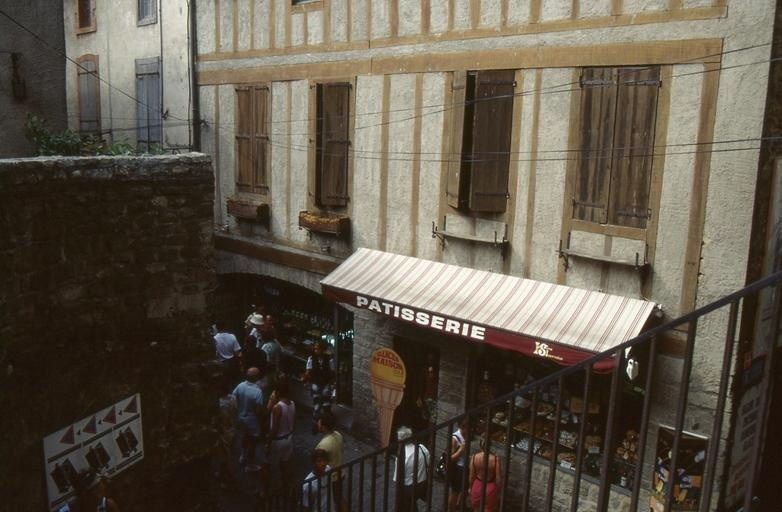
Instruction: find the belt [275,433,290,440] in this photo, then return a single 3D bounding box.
[{"bbox_3d":[-1.740,2.910,11.166,0.123,0.034,0.136,2,4,17],"label":"belt"}]
